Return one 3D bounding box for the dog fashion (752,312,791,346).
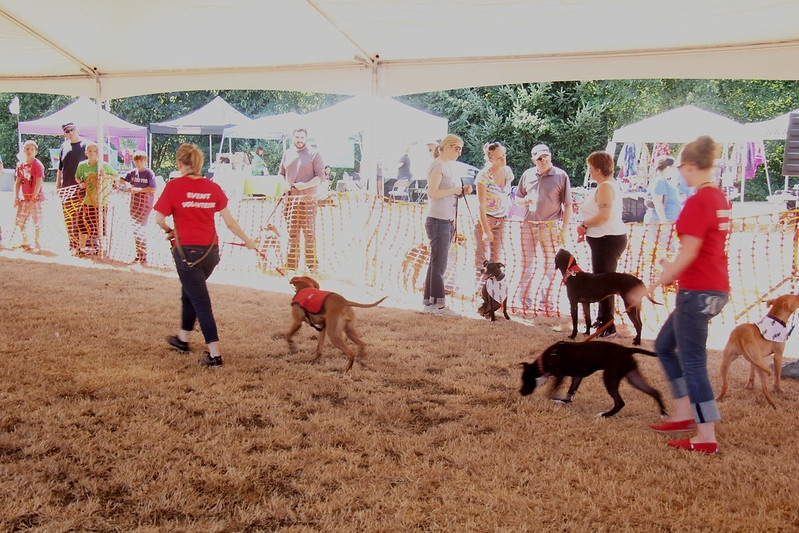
[{"bbox_3d":[3.660,0.611,6.587,0.333,0.263,0.111,1,9,-2],"label":"dog fashion"}]

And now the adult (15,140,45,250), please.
[{"bbox_3d":[-6.307,-1.189,11.474,0.593,1.799,0.524,3,6,9],"label":"adult"}]

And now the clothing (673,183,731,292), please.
[{"bbox_3d":[2.675,-0.258,5.921,0.789,0.911,0.408,-9,12,-42],"label":"clothing"}]

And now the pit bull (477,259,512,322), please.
[{"bbox_3d":[1.247,0.331,8.910,0.377,0.713,0.986,-4,-4,5],"label":"pit bull"}]

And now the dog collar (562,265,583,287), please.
[{"bbox_3d":[2.047,0.111,7.965,0.167,0.080,0.219,-9,-28,-37],"label":"dog collar"}]

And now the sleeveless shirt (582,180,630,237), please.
[{"bbox_3d":[2.491,-0.691,8.215,0.639,0.772,0.604,2,5,8],"label":"sleeveless shirt"}]

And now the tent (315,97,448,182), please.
[{"bbox_3d":[-0.645,-3.162,16.512,3.434,2.259,3.566,4,15,14],"label":"tent"}]

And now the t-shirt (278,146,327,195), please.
[{"bbox_3d":[-1.509,-1.452,10.195,0.763,0.740,0.417,8,9,22],"label":"t-shirt"}]

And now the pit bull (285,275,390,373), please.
[{"bbox_3d":[-0.717,0.569,7.125,1.649,0.910,0.428,2,0,45],"label":"pit bull"}]
